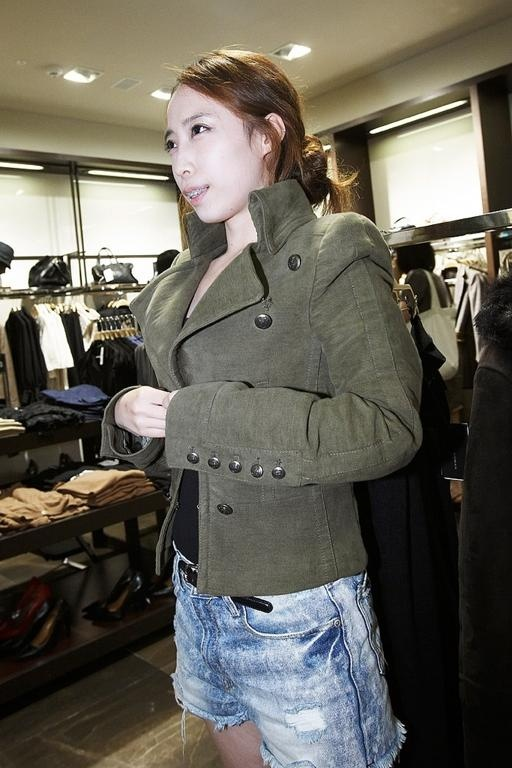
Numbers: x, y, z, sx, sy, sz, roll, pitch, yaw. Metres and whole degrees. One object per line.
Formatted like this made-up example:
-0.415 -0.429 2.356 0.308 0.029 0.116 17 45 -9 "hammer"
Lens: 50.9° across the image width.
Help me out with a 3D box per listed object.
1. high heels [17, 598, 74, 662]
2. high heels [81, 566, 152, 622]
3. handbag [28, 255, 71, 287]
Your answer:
-0.829 0.974 2.140 0.074 0.113 0.230 3 17 26 "high heels"
-0.615 0.918 2.398 0.263 0.110 0.159 -21 16 -29 "high heels"
-1.638 -0.884 4.369 0.316 0.242 0.316 -8 6 0 "handbag"
